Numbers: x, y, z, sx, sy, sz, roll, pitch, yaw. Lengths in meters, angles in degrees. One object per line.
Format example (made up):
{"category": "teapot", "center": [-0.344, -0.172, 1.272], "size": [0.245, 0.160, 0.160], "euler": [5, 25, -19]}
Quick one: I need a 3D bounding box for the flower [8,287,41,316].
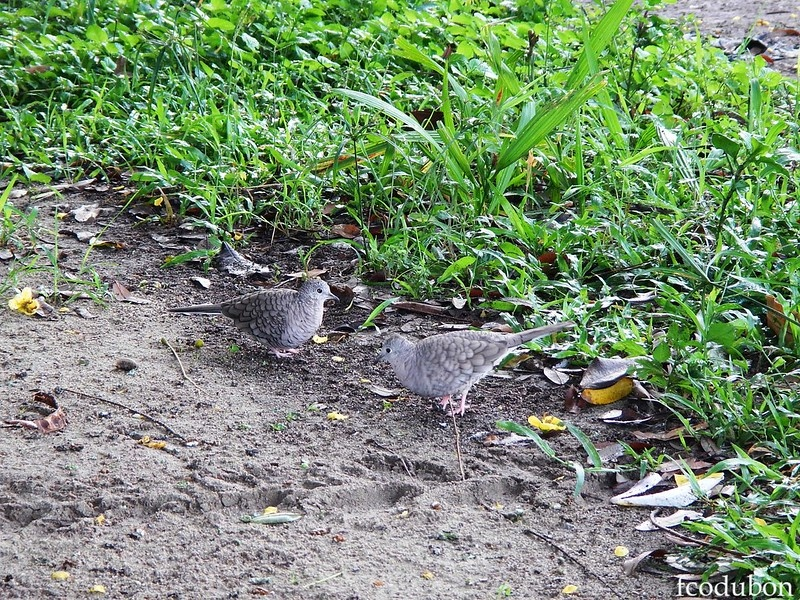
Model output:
{"category": "flower", "center": [-2.120, 0.010, 5.114], "size": [0.086, 0.173, 0.145], "euler": [-8, 49, 60]}

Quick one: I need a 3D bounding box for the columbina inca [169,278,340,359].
{"category": "columbina inca", "center": [-0.645, 0.040, 5.145], "size": [1.156, 0.471, 0.346], "euler": [8, 16, -1]}
